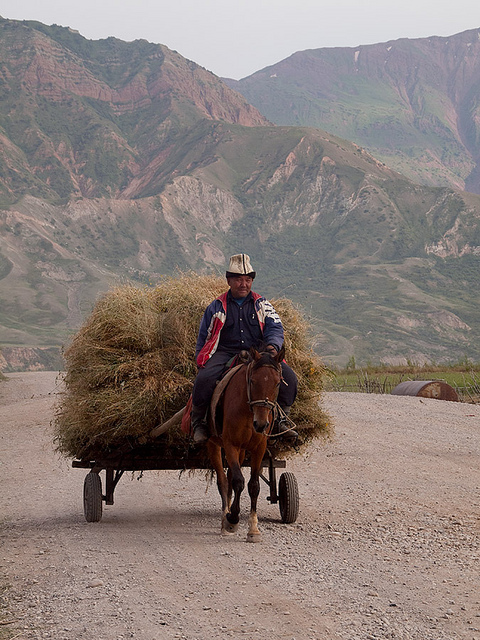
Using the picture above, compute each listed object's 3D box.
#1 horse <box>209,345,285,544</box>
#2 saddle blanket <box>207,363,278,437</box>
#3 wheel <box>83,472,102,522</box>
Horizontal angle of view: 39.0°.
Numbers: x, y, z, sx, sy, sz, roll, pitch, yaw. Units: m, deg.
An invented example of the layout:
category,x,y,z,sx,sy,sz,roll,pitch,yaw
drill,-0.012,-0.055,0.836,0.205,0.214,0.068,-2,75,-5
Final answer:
category,x,y,z,sx,sy,sz,roll,pitch,yaw
horse,0.014,1.617,8.182,0.828,1.965,3.159,4,-16,-7
saddle blanket,0.183,0.930,8.216,0.857,0.833,1.206,-1,11,-18
wheel,-2.065,2.490,9.634,0.230,0.556,0.341,2,-1,-17
